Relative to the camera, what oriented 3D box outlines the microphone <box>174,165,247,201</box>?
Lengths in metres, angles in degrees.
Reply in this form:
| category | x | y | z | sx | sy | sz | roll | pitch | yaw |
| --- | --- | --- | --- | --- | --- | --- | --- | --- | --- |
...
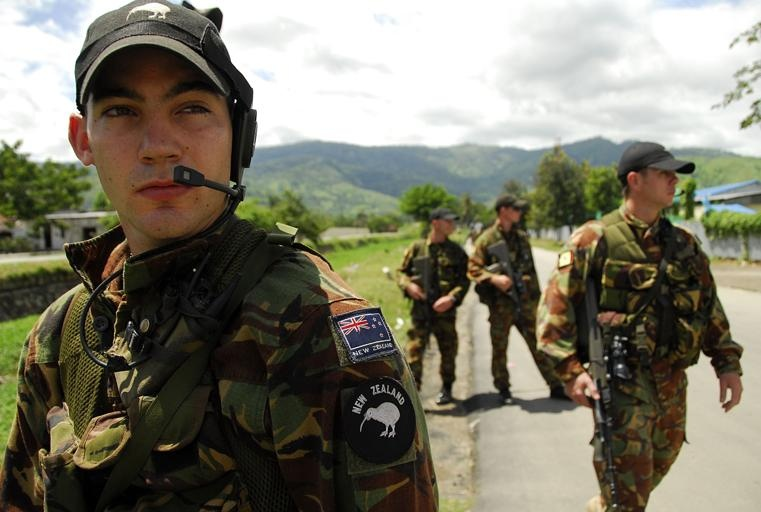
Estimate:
| category | x | y | z | sx | sy | sz | roll | pitch | yaw |
| --- | --- | --- | --- | --- | --- | --- | --- | --- | --- |
| microphone | -0.673 | -0.297 | 2.786 | 0.145 | 0.166 | 0.305 | 1 | 10 | 33 |

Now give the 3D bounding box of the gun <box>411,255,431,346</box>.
| category | x | y | z | sx | sy | sz | roll | pitch | yaw |
| --- | --- | --- | --- | --- | --- | --- | --- | --- | --- |
| gun | 0.437 | 0.432 | 7.694 | 0.285 | 0.839 | 0.174 | 0 | -17 | 8 |

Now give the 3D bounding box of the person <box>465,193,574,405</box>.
| category | x | y | z | sx | sy | sz | roll | pitch | yaw |
| --- | --- | --- | --- | --- | --- | --- | --- | --- | --- |
| person | 1.514 | 0.434 | 7.702 | 0.721 | 2.216 | 1.023 | 0 | 0 | -25 |

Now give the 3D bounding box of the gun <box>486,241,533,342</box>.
| category | x | y | z | sx | sy | sz | roll | pitch | yaw |
| --- | --- | --- | --- | --- | --- | --- | --- | --- | --- |
| gun | 1.459 | 0.376 | 7.825 | 0.428 | 1.141 | 0.453 | 4 | 15 | 16 |
